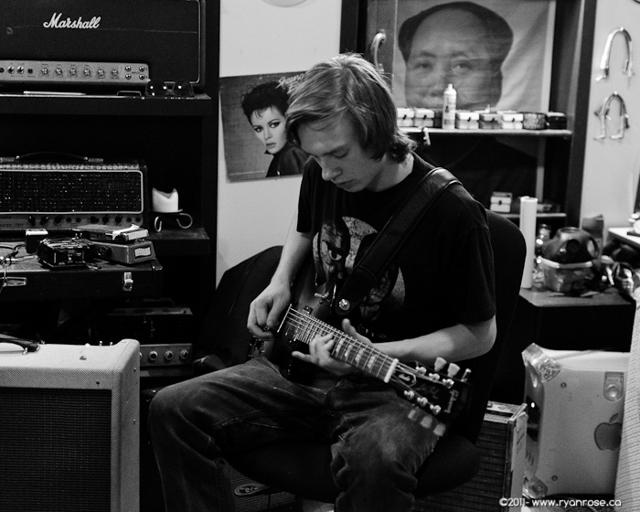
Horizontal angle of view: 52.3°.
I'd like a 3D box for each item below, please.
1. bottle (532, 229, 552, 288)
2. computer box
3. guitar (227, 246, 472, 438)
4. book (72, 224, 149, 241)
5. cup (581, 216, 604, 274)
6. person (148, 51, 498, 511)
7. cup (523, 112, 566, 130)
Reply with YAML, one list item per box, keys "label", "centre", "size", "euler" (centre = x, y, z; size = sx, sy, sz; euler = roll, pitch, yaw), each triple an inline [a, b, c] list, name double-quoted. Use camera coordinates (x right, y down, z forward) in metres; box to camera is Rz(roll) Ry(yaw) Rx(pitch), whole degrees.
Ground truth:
- label: "bottle"
  centre: [1.188, -0.014, 3.482]
  size: [0.080, 0.288, 0.414]
  euler: [2, 7, 19]
- label: "computer box"
  centre: [1.111, 0.731, 2.852]
  size: [0.500, 0.553, 0.460]
  euler: [5, -2, 11]
- label: "guitar"
  centre: [0.079, 0.262, 1.956]
  size: [0.085, 0.340, 0.814]
  euler: [31, -11, -40]
- label: "book"
  centre: [-0.892, -0.097, 2.710]
  size: [0.391, 0.053, 0.157]
  euler: [5, 8, 37]
- label: "cup"
  centre: [1.421, -0.071, 3.390]
  size: [0.118, 0.274, 0.394]
  euler: [2, 7, 21]
- label: "person"
  centre: [0.035, 0.063, 1.952]
  size: [0.959, 1.310, 0.613]
  euler: [2, 6, 16]
- label: "cup"
  centre: [1.203, -0.720, 3.490]
  size: [0.142, 0.059, 0.118]
  euler: [2, 9, 9]
